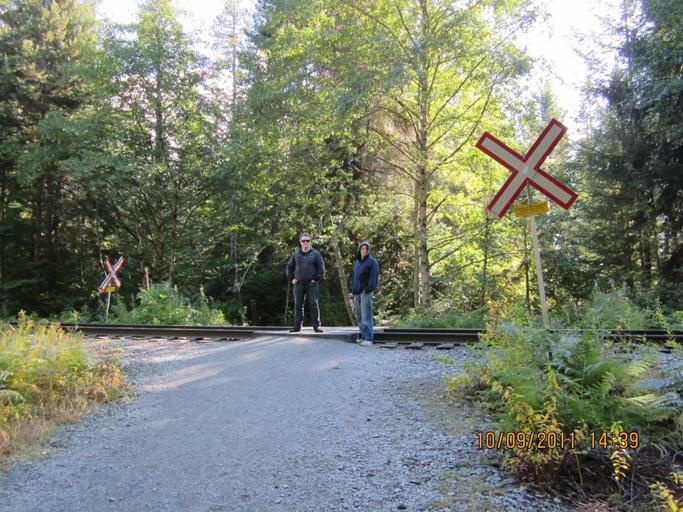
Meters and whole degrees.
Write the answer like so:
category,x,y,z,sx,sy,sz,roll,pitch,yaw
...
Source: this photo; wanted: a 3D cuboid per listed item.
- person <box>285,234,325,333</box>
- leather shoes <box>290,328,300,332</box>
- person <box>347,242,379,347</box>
category,x,y,z,sx,sy,sz,roll,pitch,yaw
person,-0.833,0.641,11.922,0.825,2.321,0.981,-3,8,-6
leather shoes,-1.085,1.696,11.929,0.250,0.112,0.097,4,-6,5
person,0.480,0.772,11.202,0.608,2.096,1.002,-2,8,1
